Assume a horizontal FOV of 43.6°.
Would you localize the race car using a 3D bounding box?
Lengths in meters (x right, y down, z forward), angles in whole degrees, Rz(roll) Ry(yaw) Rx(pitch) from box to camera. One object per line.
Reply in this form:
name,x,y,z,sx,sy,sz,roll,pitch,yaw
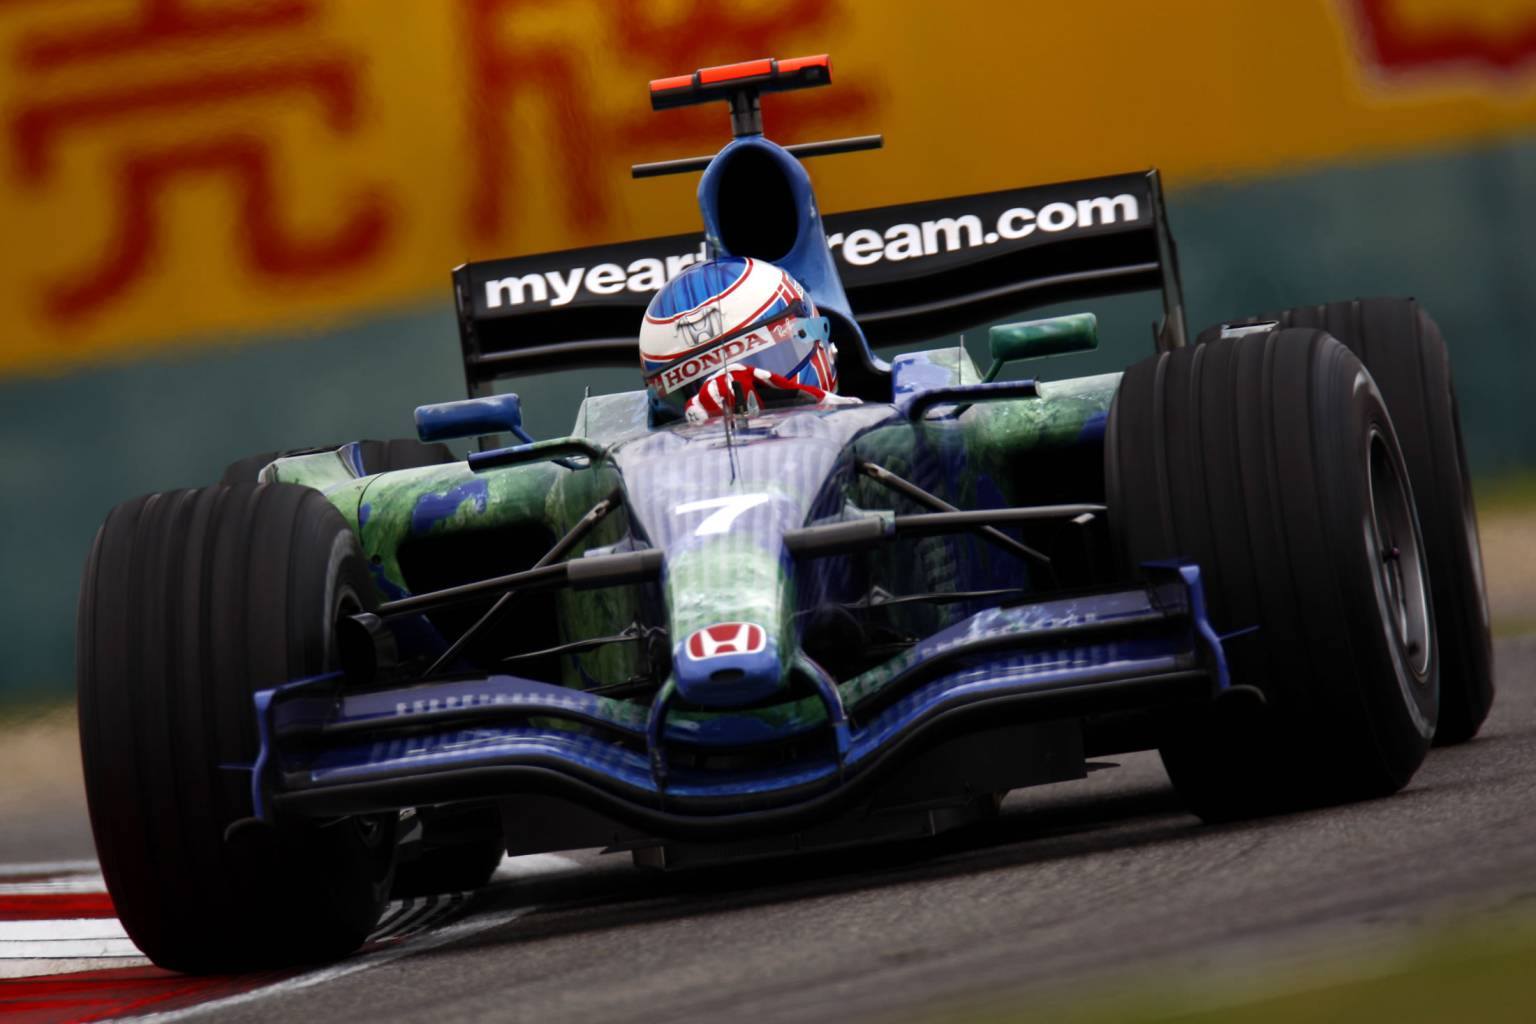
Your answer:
race car,0.290,0.247,8.008,5.436,2.977,5.114,-6,16,-5
